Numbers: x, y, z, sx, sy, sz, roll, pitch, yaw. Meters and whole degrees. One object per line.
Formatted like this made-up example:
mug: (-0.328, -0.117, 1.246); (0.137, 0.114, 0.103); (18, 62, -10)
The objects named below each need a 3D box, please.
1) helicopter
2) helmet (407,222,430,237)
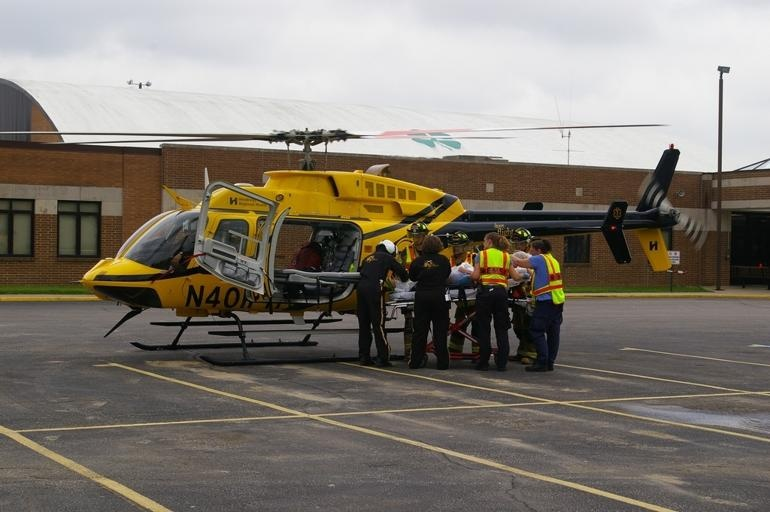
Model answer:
helicopter: (-0.152, -0.276, 20.122); (10.784, 2.314, 8.015); (3, -1, -29)
helmet: (0.623, -0.503, 18.128); (0.397, 0.190, 0.436); (0, 0, 14)
